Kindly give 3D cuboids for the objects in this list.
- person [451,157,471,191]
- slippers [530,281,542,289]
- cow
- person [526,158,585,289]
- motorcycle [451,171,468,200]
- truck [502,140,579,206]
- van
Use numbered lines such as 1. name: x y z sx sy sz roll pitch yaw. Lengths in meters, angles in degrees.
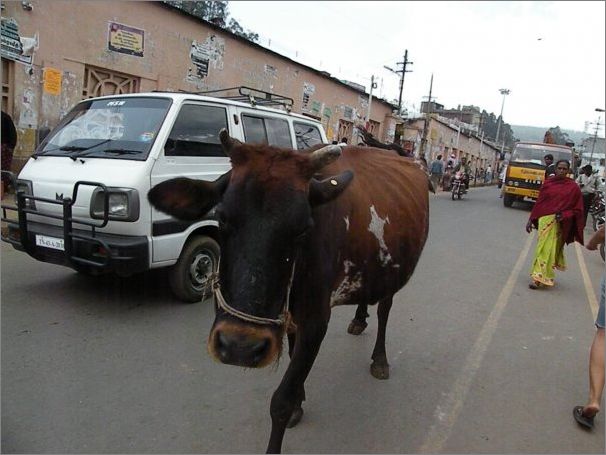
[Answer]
1. person: 7.377 -2.592 18.620 0.764 1.063 1.666 2 -2 28
2. slippers: 3.862 0.956 6.574 0.126 0.092 0.209 1 1 26
3. cow: 0.099 0.397 2.797 0.656 2.010 1.921 15 17 40
4. person: 4.135 -0.032 6.490 0.774 2.113 0.719 10 14 26
5. motorcycle: 7.089 -1.902 18.045 0.504 1.315 0.919 15 17 38
6. truck: 10.613 -2.453 18.115 2.713 3.221 4.965 4 6 30
7. van: -1.356 -0.568 5.443 2.125 2.383 3.905 6 11 31
